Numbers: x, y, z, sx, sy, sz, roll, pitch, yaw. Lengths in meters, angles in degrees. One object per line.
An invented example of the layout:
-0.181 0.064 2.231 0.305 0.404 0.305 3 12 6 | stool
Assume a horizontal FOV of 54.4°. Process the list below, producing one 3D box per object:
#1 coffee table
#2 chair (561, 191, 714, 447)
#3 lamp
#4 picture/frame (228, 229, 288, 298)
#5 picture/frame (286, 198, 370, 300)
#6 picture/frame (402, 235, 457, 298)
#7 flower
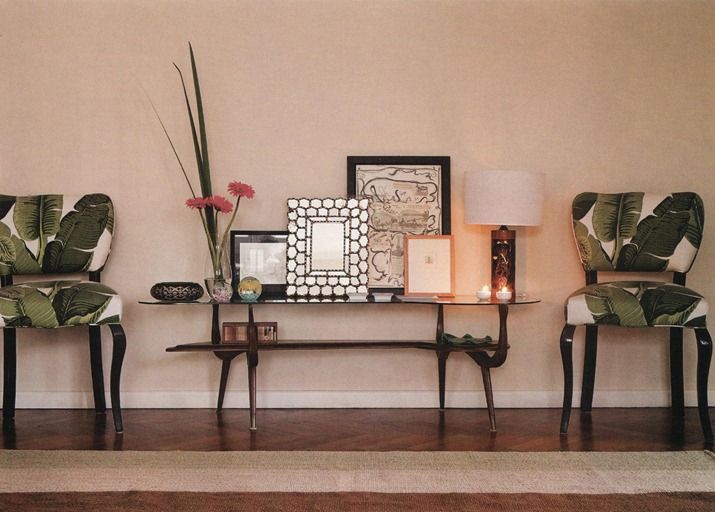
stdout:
0.010 0.588 4.129 1.983 0.776 0.651 0 11 1 | coffee table
1.636 0.302 4.069 0.835 1.317 0.890 3 12 15 | chair
0.849 -0.133 4.091 0.460 0.732 0.372 2 12 8 | lamp
-0.599 0.064 4.223 0.478 0.430 0.032 -1 -12 -1 | picture/frame
-0.190 -0.024 4.206 0.700 0.719 0.015 0 -8 -4 | picture/frame
0.432 0.067 4.194 0.434 0.447 0.032 0 -12 -1 | picture/frame
-0.906 -0.541 4.187 0.552 1.512 0.941 -6 13 -25 | flower
